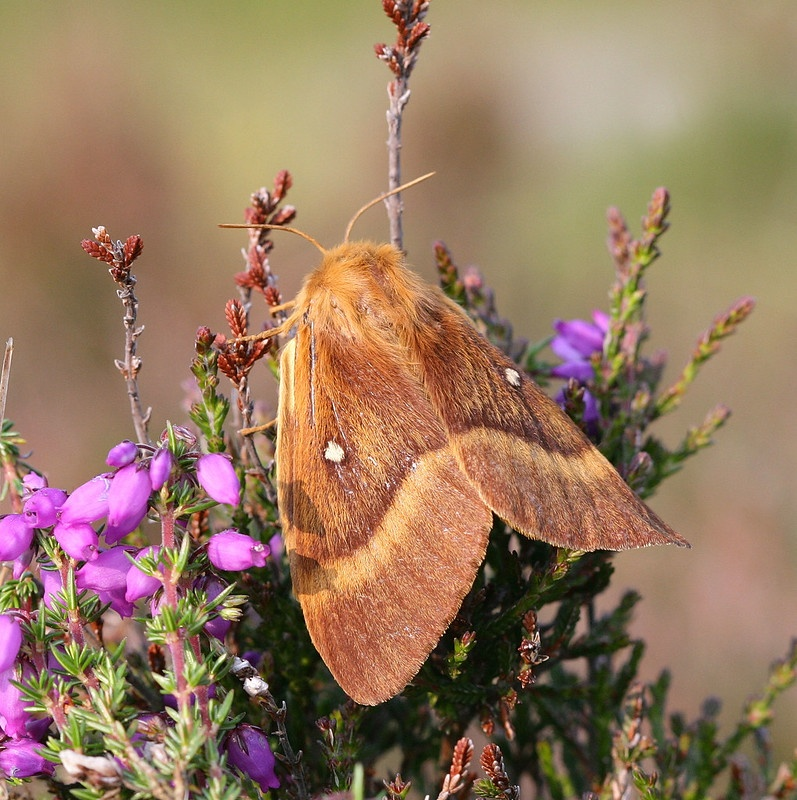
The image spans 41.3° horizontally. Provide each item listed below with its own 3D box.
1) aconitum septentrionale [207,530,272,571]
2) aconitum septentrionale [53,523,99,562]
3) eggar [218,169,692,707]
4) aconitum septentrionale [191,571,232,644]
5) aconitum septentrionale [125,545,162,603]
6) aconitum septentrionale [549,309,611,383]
[{"bbox_3d":[-0.465,0.428,3.009,0.141,0.103,0.076,5,-23,-8],"label":"aconitum septentrionale"},{"bbox_3d":[-0.909,0.401,2.991,0.118,0.114,0.085,-4,-24,-21],"label":"aconitum septentrionale"},{"bbox_3d":[0.129,0.144,3.875,1.159,1.748,0.344,-10,-21,-5],"label":"eggar"},{"bbox_3d":[-0.546,0.613,3.110,0.084,0.163,0.260,-7,-25,-10],"label":"aconitum septentrionale"},{"bbox_3d":[-0.713,0.494,2.963,0.095,0.113,0.234,-3,-27,-22],"label":"aconitum septentrionale"},{"bbox_3d":[0.738,-0.224,4.302,0.184,0.340,0.222,-8,18,-29],"label":"aconitum septentrionale"}]
